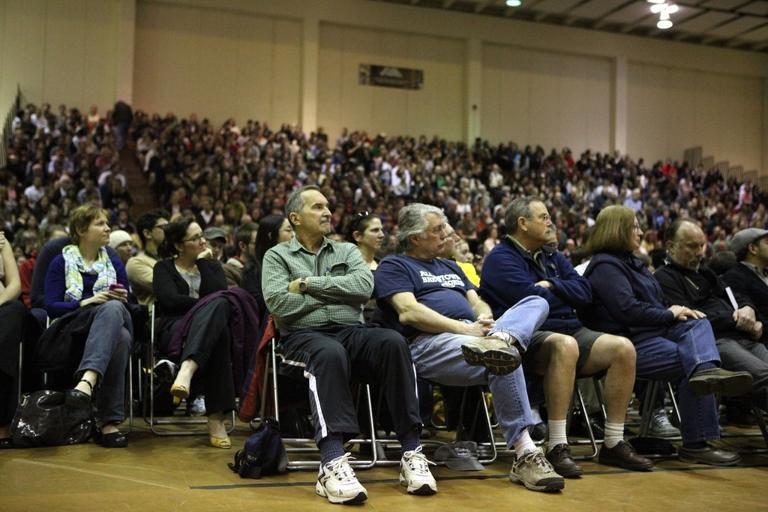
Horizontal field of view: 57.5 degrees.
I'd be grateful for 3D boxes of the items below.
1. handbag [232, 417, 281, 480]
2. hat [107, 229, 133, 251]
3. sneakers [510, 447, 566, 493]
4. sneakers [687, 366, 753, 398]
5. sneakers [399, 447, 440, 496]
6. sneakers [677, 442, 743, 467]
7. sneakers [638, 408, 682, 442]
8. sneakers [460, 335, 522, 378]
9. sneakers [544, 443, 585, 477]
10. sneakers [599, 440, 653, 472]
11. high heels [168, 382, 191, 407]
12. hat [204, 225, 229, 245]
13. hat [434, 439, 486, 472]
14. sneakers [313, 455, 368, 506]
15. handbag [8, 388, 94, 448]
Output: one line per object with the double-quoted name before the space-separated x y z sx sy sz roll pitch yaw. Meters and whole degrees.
"handbag" -0.781 1.209 4.445 0.278 0.367 0.117 1 -8 -13
"hat" -2.466 -0.155 6.496 0.207 0.168 0.212 -1 -3 32
"sneakers" 0.948 1.323 4.365 0.317 0.251 0.142 -2 -8 10
"sneakers" 2.233 0.815 4.735 0.449 0.193 0.236 1 19 8
"sneakers" 0.198 1.306 4.230 0.129 0.178 0.357 1 -10 -14
"sneakers" 2.259 1.347 4.910 0.452 0.201 0.158 -2 -1 25
"sneakers" 2.264 1.360 5.698 0.202 0.257 0.574 3 -15 -5
"sneakers" 0.683 0.589 4.346 0.398 0.191 0.226 10 21 35
"sneakers" 1.182 1.324 4.541 0.112 0.149 0.321 3 -7 -16
"sneakers" 1.623 1.360 4.800 0.377 0.180 0.135 -4 -6 38
"high heels" -1.537 1.028 5.256 0.158 0.146 0.480 7 -34 -14
"hat" -1.614 -0.207 6.739 0.197 0.195 0.380 1 -9 -13
"hat" 0.512 1.351 4.762 0.335 0.174 0.220 -9 -12 41
"sneakers" -0.257 1.311 4.132 0.314 0.261 0.179 -1 -8 3
"handbag" -2.340 1.096 4.955 0.542 0.394 0.375 -1 1 -32
